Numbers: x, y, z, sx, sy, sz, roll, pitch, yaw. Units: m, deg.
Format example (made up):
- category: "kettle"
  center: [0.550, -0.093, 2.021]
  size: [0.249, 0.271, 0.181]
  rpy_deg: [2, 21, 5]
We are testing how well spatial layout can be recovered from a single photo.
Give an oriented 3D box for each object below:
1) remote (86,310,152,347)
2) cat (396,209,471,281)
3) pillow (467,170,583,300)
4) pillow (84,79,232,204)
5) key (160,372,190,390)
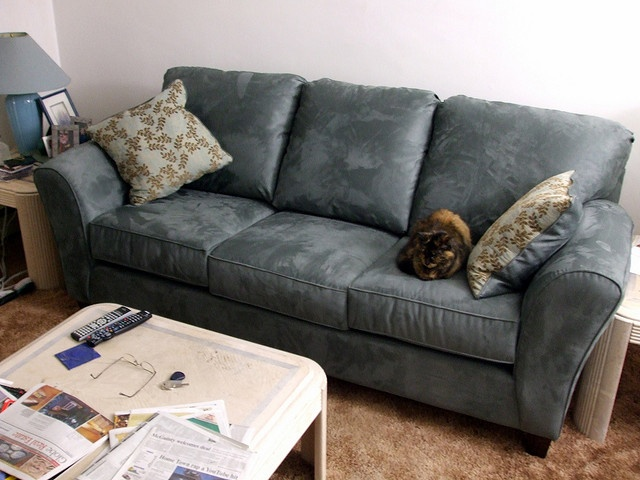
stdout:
- category: "remote"
  center: [-0.750, 0.334, 2.109]
  size: [0.082, 0.035, 0.257]
  rpy_deg: [35, 43, 28]
- category: "cat"
  center: [0.515, 0.031, 2.402]
  size: [0.227, 0.177, 0.338]
  rpy_deg: [7, 36, 22]
- category: "pillow"
  center: [0.814, -0.016, 2.240]
  size: [0.392, 0.433, 0.347]
  rpy_deg: [5, 23, 3]
- category: "pillow"
  center: [-0.811, -0.426, 2.915]
  size: [0.643, 0.603, 0.194]
  rpy_deg: [-38, 9, -23]
- category: "key"
  center: [-0.490, 0.485, 1.889]
  size: [0.091, 0.030, 0.060]
  rpy_deg: [-2, 24, -14]
